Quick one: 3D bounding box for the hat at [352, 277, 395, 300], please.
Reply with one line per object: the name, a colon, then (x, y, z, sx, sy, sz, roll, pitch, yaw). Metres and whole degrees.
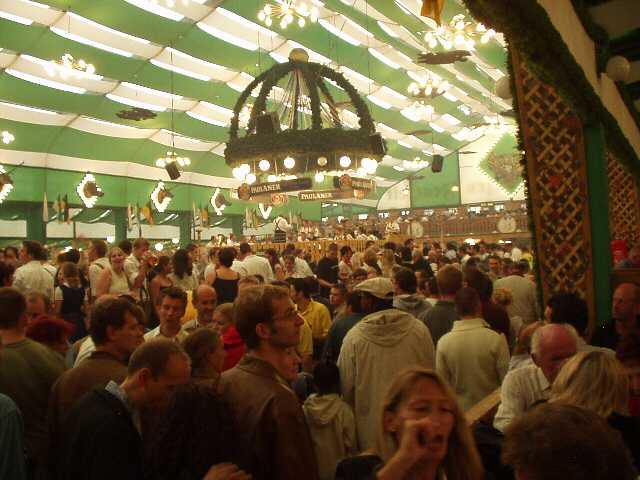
hat: (0.433, 0.380, 4.239, 0.238, 0.103, 0.171, 10, -1, 27)

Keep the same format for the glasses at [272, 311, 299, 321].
glasses: (-0.161, 0.392, 2.692, 0.060, 0.038, 0.186, -6, -7, 44)
